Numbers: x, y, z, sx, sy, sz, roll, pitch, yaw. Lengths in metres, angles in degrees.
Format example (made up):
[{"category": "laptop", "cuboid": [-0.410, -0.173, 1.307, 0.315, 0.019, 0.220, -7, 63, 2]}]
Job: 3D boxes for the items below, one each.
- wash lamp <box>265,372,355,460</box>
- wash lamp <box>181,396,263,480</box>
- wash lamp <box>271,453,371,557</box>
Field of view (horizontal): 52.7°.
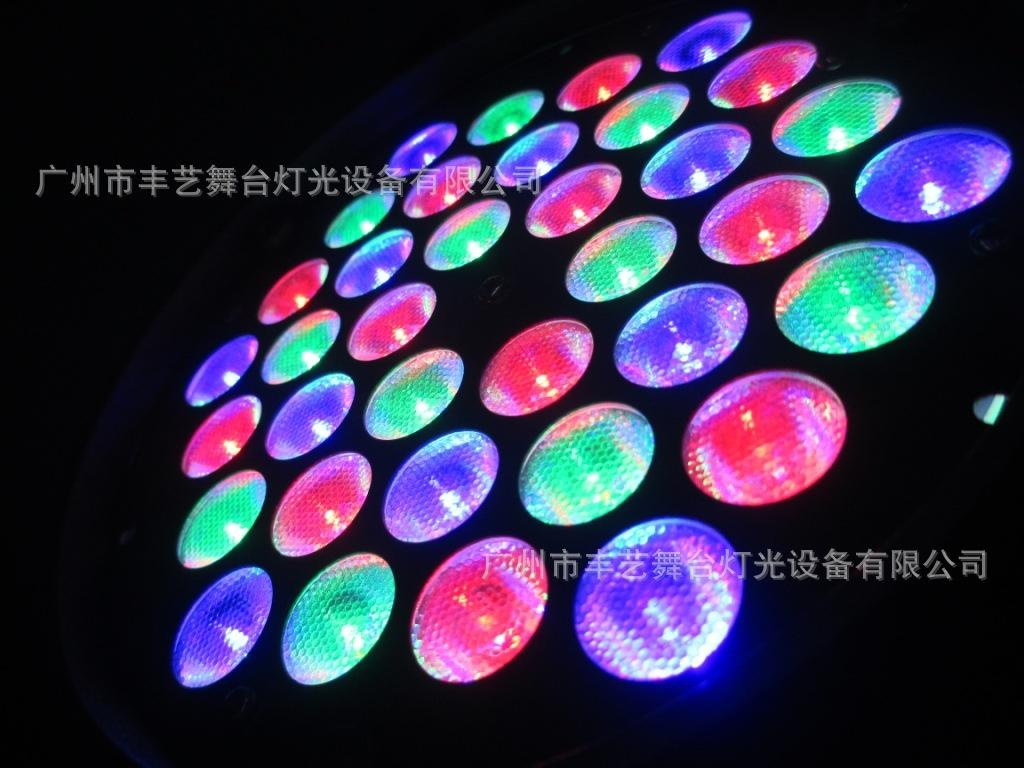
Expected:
[{"category": "wash lamp", "cuboid": [-0.350, 0.079, 1.884, 0.164, 0.037, 0.130, -39, 50, 4]}, {"category": "wash lamp", "cuboid": [-0.536, 0.122, 1.990, 0.161, 0.029, 0.130, -40, 50, 2]}, {"category": "wash lamp", "cuboid": [-0.309, 0.214, 1.764, 0.187, 0.039, 0.128, -43, 61, 0]}]
